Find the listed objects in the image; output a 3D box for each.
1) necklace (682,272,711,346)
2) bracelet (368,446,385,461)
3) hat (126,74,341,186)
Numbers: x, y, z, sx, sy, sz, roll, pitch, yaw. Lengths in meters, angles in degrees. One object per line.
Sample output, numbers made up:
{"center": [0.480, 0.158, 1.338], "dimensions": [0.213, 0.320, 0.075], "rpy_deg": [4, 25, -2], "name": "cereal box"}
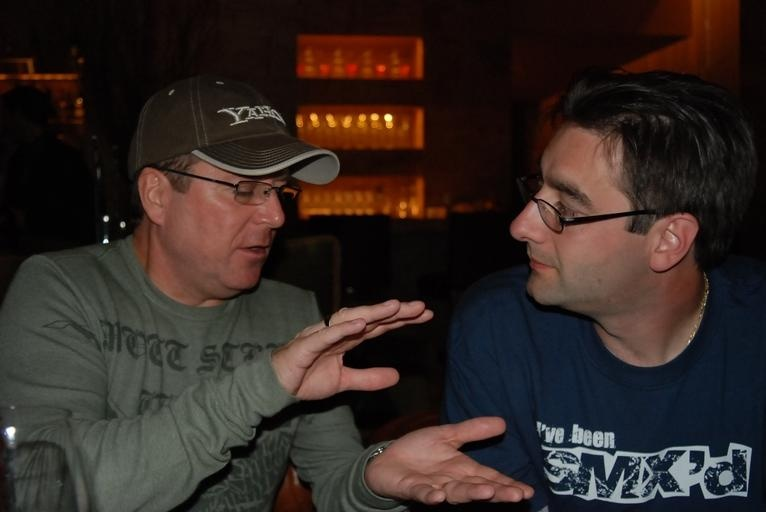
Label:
{"center": [1.160, 0.197, 2.820], "dimensions": [0.040, 0.219, 0.154], "rpy_deg": [22, -11, -4], "name": "necklace"}
{"center": [-0.020, 0.698, 2.725], "dimensions": [0.015, 0.048, 0.019], "rpy_deg": [50, 13, 34], "name": "bracelet"}
{"center": [-0.597, -0.438, 2.950], "dimensions": [0.633, 0.309, 0.416], "rpy_deg": [-3, 1, 20], "name": "hat"}
